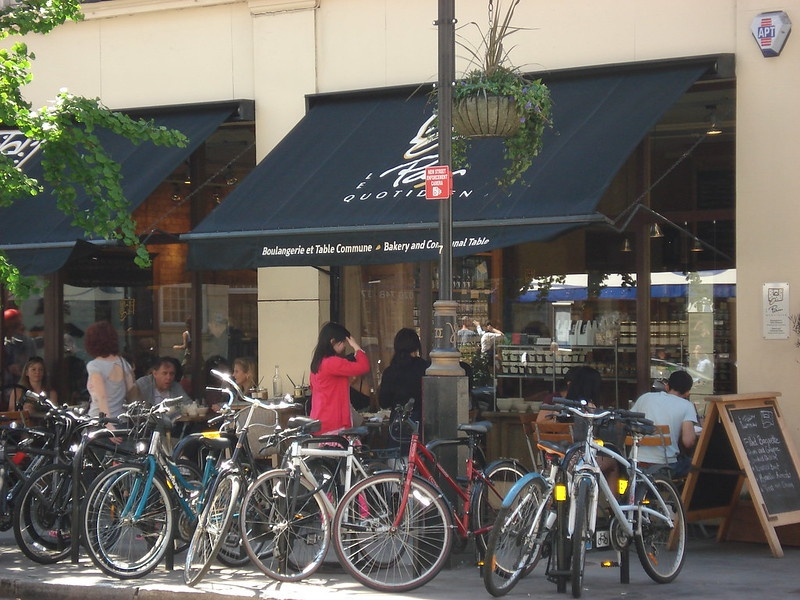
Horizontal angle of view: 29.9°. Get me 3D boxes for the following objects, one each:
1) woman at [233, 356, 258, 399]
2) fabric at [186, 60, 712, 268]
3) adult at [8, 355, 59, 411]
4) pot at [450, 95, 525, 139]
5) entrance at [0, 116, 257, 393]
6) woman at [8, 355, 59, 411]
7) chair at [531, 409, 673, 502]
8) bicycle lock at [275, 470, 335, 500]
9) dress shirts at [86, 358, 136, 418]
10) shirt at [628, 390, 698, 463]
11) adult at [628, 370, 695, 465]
[{"bbox_3d":[-1.952,0.933,18.785,0.366,0.670,0.365,1,-9,1],"label":"woman"},{"bbox_3d":[0.340,-1.483,17.542,5.388,2.332,2.065,1,3,38],"label":"fabric"},{"bbox_3d":[-4.630,1.055,18.969,0.613,1.044,0.561,1,0,-19],"label":"adult"},{"bbox_3d":[0.868,-1.925,15.936,0.794,0.392,0.795,-4,-6,0],"label":"pot"},{"bbox_3d":[-3.394,-0.412,19.209,3.471,2.212,2.688,-1,11,17],"label":"entrance"},{"bbox_3d":[-4.630,1.055,18.969,0.613,1.044,0.561,1,0,-19],"label":"woman"},{"bbox_3d":[2.237,1.560,15.505,1.317,0.886,0.821,12,-14,-34],"label":"chair"},{"bbox_3d":[-0.927,1.923,14.971,0.347,0.430,0.309,0,-10,30],"label":"bicycle lock"},{"bbox_3d":[-3.341,0.990,16.879,0.363,0.718,0.724,-2,0,18],"label":"dress shirts"},{"bbox_3d":[2.852,1.396,16.245,0.669,0.717,0.387,4,-2,17],"label":"shirt"},{"bbox_3d":[2.886,1.319,16.453,0.768,1.075,0.550,13,9,37],"label":"adult"}]
